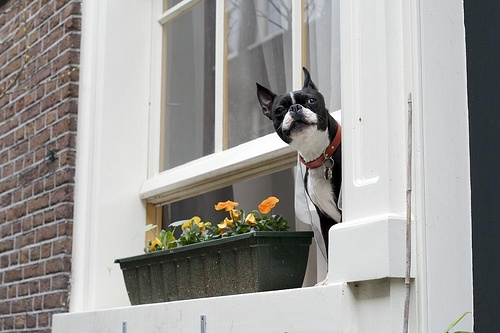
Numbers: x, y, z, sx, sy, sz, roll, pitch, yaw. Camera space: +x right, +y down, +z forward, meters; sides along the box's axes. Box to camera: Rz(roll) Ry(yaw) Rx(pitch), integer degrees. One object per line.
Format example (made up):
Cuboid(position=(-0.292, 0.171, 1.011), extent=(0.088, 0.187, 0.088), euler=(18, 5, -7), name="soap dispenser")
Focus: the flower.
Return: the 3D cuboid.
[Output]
Cuboid(position=(-0.181, 0.384, 5.363), extent=(0.755, 0.176, 0.300), euler=(-20, -1, 40), name="flower")
